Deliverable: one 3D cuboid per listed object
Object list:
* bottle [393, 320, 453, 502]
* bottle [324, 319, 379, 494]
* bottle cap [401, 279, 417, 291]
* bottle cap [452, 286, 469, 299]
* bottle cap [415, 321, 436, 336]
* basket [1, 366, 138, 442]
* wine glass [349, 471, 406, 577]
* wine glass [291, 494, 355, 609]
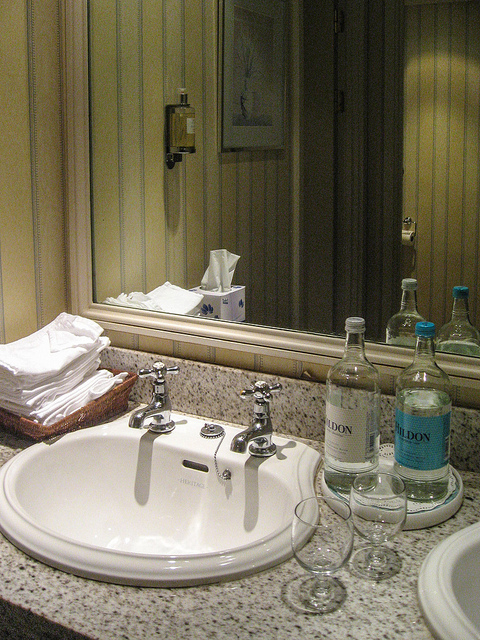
[{"bbox_3d":[0.241,0.142,0.714,0.074,0.193,0.079,-1,10,0],"label":"bottle"},{"bbox_3d":[0.156,0.115,0.748,0.076,0.240,0.299,1,11,15],"label":"bottle"},{"bbox_3d":[0.269,-0.058,0.854,0.016,0.013,0.017,0,3,-32],"label":"bottle cap"},{"bbox_3d":[0.335,-0.043,0.816,0.016,0.013,0.018,-3,4,9],"label":"bottle cap"},{"bbox_3d":[0.240,0.006,0.694,0.021,0.015,0.022,1,9,3],"label":"bottle cap"},{"bbox_3d":[-0.305,0.169,0.994,0.124,0.040,0.135,10,20,33],"label":"basket"},{"bbox_3d":[0.166,0.244,0.625,0.064,0.124,0.074,0,2,-10],"label":"wine glass"},{"bbox_3d":[0.077,0.259,0.609,0.069,0.126,0.080,0,13,2],"label":"wine glass"}]
